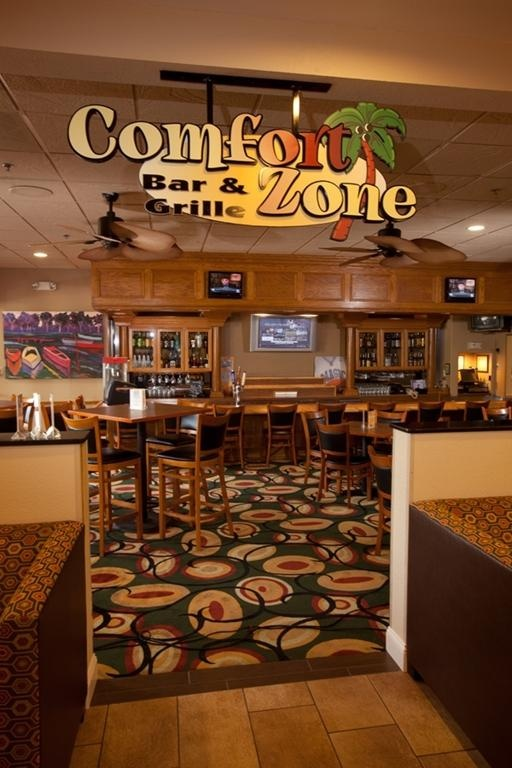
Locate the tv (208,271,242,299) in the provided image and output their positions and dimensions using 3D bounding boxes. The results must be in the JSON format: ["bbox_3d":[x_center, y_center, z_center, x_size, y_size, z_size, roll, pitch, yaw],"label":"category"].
[{"bbox_3d":[-0.414,-1.353,7.515,0.598,0.427,0.327,0,-1,-6],"label":"tv"}]

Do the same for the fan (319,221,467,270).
[{"bbox_3d":[1.384,-1.448,5.676,0.965,0.296,1.090,4,-1,14],"label":"fan"}]

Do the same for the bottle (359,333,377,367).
[{"bbox_3d":[1.967,-0.606,9.663,0.348,0.608,0.131,-1,2,-15],"label":"bottle"}]

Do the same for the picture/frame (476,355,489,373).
[{"bbox_3d":[5.052,-0.460,12.222,0.018,0.499,0.361,-11,11,-35],"label":"picture/frame"}]

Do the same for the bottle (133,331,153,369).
[{"bbox_3d":[-1.753,-0.533,8.497,0.336,0.560,0.129,-1,2,-14],"label":"bottle"}]

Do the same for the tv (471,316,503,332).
[{"bbox_3d":[4.763,-1.248,11.344,0.423,0.308,0.592,2,0,-40],"label":"tv"}]
